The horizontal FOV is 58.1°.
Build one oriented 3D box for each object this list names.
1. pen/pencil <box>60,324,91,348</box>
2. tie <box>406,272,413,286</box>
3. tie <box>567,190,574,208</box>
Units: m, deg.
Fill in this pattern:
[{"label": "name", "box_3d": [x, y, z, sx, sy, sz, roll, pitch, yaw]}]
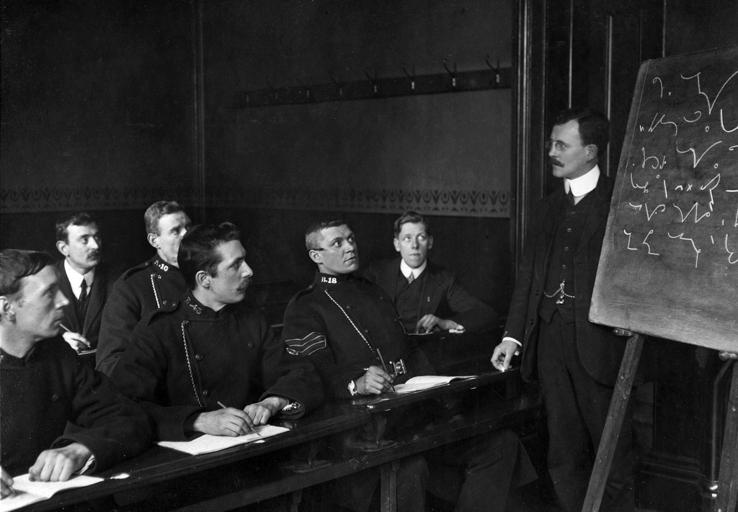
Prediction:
[{"label": "pen/pencil", "box_3d": [-0.948, 0.257, 2.137, 0.028, 0.086, 0.018, -34, 21, 15]}, {"label": "tie", "box_3d": [0.191, 0.100, 2.988, 0.010, 0.044, 0.043, 8, -18, 28]}, {"label": "tie", "box_3d": [0.912, -0.256, 2.988, 0.023, 0.070, 0.036, -10, 10, -29]}]
